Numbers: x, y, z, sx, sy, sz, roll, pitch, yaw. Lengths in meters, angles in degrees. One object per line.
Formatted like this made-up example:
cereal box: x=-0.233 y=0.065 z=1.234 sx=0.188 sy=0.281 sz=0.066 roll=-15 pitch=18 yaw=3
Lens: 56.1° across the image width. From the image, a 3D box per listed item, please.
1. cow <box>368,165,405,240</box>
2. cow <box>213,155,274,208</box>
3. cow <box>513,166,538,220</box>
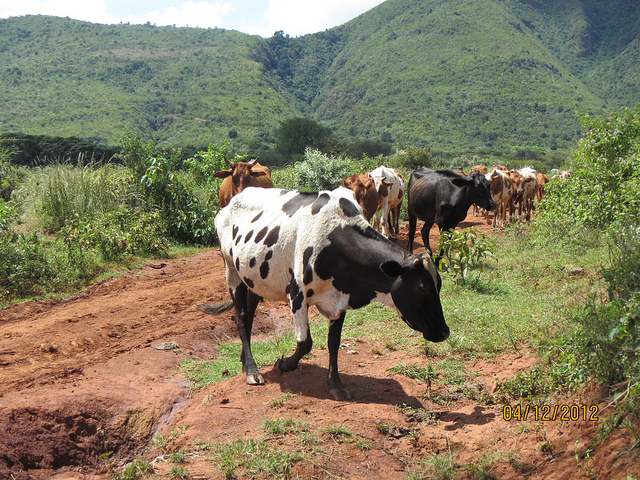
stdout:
cow: x=2.126 y=-1.249 z=19.930 sx=0.972 sy=2.146 sz=3.645 roll=4 pitch=8 yaw=17
cow: x=-2.385 y=-1.353 z=16.615 sx=1.033 sy=1.511 sz=2.655 roll=-3 pitch=-4 yaw=-17
cow: x=8.440 y=-2.225 z=25.344 sx=0.925 sy=2.121 sz=2.898 roll=-1 pitch=0 yaw=28
